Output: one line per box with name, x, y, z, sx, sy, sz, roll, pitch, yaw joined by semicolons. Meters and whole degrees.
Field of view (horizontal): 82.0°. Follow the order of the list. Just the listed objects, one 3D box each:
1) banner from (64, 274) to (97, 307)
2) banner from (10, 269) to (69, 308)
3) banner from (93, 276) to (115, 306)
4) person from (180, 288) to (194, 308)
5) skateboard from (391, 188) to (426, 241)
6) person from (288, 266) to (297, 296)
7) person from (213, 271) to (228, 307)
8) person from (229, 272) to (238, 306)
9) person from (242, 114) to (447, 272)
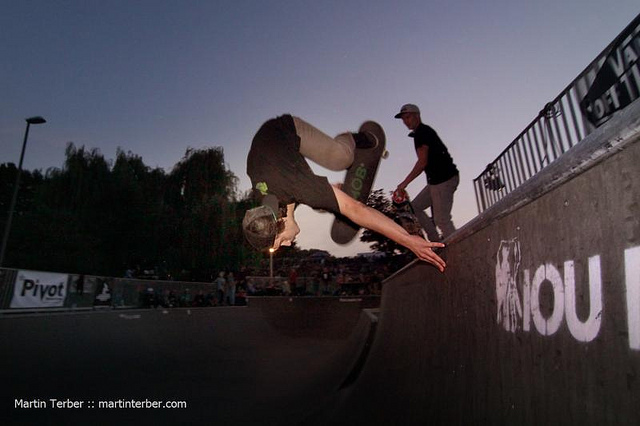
banner;-7.091;2.333;10.696;0.577;0.920;0.975;-7;-16;14
banner;-6.997;1.915;9.239;1.990;0.898;0.031;-2;-12;19
banner;-6.726;2.433;11.413;0.084;0.948;0.807;-21;-20;20
person;-5.505;3.487;15.179;0.310;1.037;0.608;-3;-11;24
skateboard;0.846;0.001;3.482;0.147;0.119;0.500;10;-52;34
person;-1.203;3.041;16.255;0.401;0.908;1.084;2;-4;-5
person;-4.414;3.369;16.530;0.497;1.370;2.016;3;-4;-15
person;-3.873;3.324;16.360;0.321;1.346;0.908;3;-5;-18
person;-0.018;-0.224;3.533;1.460;1.511;0.433;33;-2;-5
